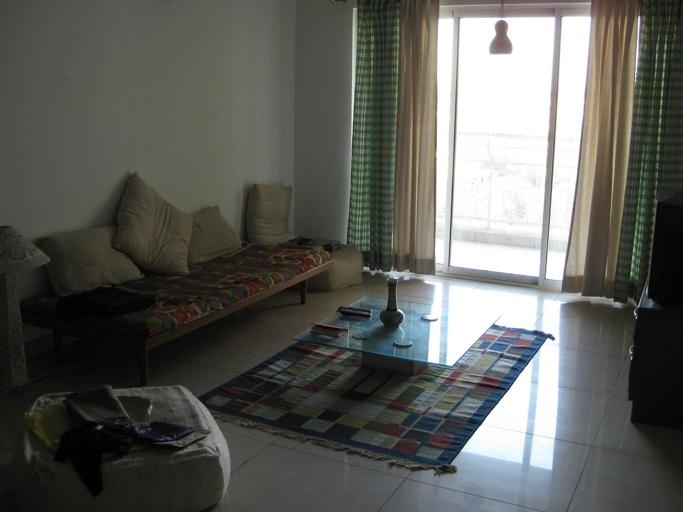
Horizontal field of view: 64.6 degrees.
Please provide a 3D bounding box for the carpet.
[{"bbox_3d":[0.339,0.892,4.207,1.789,0.071,2.391,10,18,32],"label":"carpet"}]
